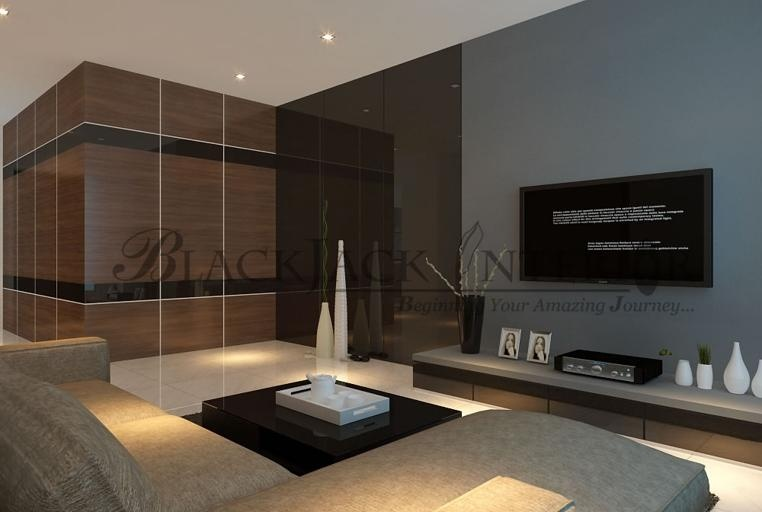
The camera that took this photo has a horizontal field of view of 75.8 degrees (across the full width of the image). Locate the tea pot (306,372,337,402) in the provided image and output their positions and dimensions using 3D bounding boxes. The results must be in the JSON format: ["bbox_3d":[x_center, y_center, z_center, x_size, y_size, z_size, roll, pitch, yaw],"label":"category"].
[{"bbox_3d":[-0.390,0.863,3.269,0.186,0.183,0.134,2,0,-22],"label":"tea pot"}]

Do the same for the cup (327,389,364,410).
[{"bbox_3d":[-0.220,0.918,3.132,0.111,0.051,0.155,1,0,21],"label":"cup"}]

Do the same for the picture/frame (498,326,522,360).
[{"bbox_3d":[1.209,0.816,4.570,0.262,0.366,0.039,2,-5,45],"label":"picture/frame"}]
